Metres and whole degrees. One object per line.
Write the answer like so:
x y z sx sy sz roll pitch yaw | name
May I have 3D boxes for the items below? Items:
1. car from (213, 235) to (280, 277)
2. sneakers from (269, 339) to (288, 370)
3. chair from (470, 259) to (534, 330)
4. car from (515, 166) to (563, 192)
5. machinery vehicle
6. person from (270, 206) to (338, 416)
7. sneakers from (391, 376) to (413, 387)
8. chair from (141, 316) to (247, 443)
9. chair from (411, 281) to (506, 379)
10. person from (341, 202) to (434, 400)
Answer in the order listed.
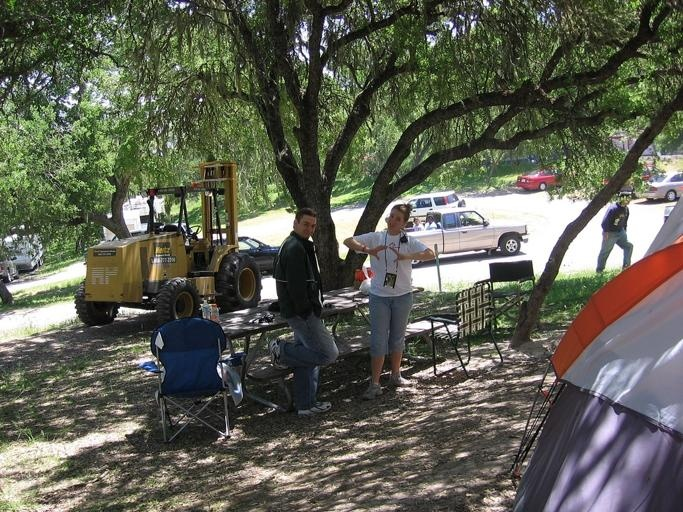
-3.098 0.187 21.034 2.131 1.224 1.333 -10 15 -28 | car
-0.712 1.133 6.955 0.128 0.204 0.420 -2 18 -11 | sneakers
2.956 0.670 10.634 0.867 1.184 0.872 -2 -1 34 | chair
10.872 -4.220 34.407 1.037 1.111 2.784 -8 9 -29 | car
-3.586 -0.352 13.265 2.407 3.655 3.852 -3 1 30 | machinery vehicle
-0.442 0.680 6.898 0.718 2.402 0.422 -5 7 -8 | person
0.776 1.604 7.798 0.242 0.125 0.129 0 5 3 | sneakers
-1.654 1.311 7.006 1.046 1.513 1.020 -4 8 -30 | chair
1.762 1.035 8.837 0.850 1.255 0.796 -12 8 -31 | chair
0.585 0.546 7.429 0.924 2.324 0.555 -4 7 1 | person
